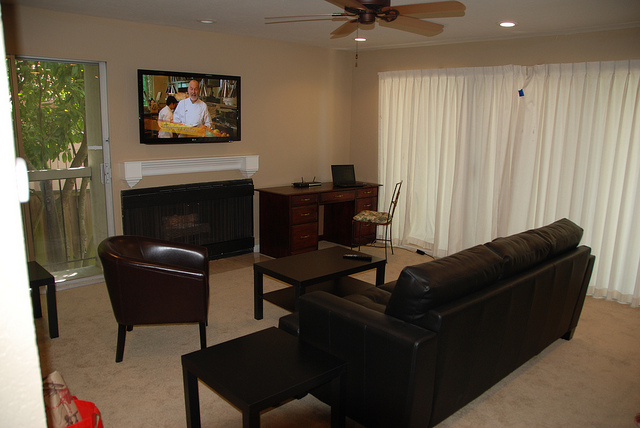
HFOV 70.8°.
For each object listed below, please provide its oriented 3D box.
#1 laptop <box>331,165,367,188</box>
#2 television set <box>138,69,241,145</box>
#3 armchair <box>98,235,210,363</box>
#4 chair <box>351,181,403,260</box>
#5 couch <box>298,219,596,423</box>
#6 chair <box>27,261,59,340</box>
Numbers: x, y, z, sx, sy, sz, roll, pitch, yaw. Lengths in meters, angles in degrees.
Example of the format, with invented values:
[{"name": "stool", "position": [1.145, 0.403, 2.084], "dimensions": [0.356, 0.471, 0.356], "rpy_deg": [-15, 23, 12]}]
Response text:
[{"name": "laptop", "position": [0.404, -0.570, 6.680], "dimensions": [0.486, 0.351, 0.305], "rpy_deg": [-2, 7, -34]}, {"name": "television set", "position": [-1.591, -1.312, 5.582], "dimensions": [1.295, 0.839, 0.102], "rpy_deg": [-9, 17, -39]}, {"name": "armchair", "position": [-1.448, 0.724, 3.982], "dimensions": [0.878, 0.966, 0.673], "rpy_deg": [-2, 13, -14]}, {"name": "chair", "position": [0.801, 0.058, 6.448], "dimensions": [0.648, 1.066, 0.559], "rpy_deg": [5, 11, 12]}, {"name": "couch", "position": [1.050, 0.766, 3.416], "dimensions": [2.139, 1.159, 0.704], "rpy_deg": [-7, 15, -31]}, {"name": "chair", "position": [-2.504, 0.847, 4.038], "dimensions": [0.273, 0.430, 0.464], "rpy_deg": [1, -16, -26]}]
